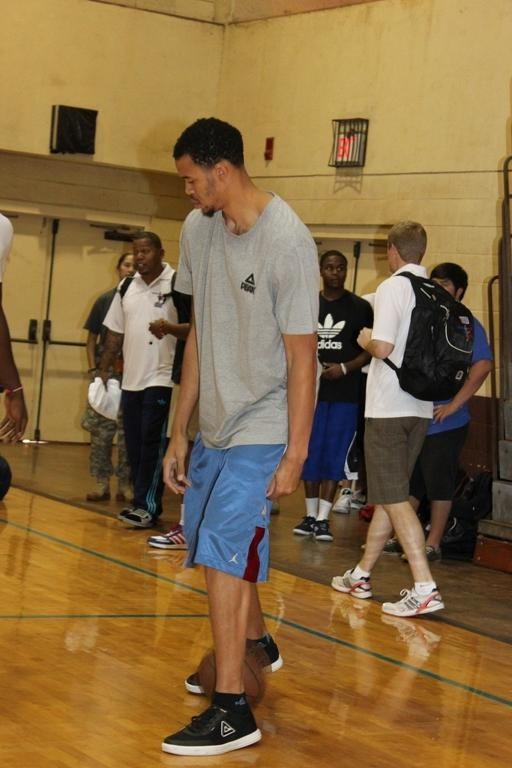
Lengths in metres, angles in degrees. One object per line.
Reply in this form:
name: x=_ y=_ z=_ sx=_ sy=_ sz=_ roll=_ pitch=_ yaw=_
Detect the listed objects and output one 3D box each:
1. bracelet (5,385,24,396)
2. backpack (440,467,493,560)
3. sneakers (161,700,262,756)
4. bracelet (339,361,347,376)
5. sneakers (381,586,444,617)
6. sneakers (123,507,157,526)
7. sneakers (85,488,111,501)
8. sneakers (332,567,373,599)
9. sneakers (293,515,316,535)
bracelet: x=-0.661 y=0.019 z=1.597 sx=0.045 sy=0.016 sz=0.038 roll=-13 pitch=3 yaw=-24
backpack: x=1.707 y=1.043 z=4.658 sx=0.487 sy=0.619 sz=0.231 roll=9 pitch=-6 yaw=44
sneakers: x=-0.086 y=0.734 z=1.277 sx=0.241 sy=0.104 sz=0.084 roll=0 pitch=3 yaw=-23
bracelet: x=0.732 y=-0.114 z=4.866 sx=0.058 sy=0.091 sz=0.090 roll=-11 pitch=19 yaw=3
sneakers: x=0.788 y=1.094 z=2.971 sx=0.379 sy=0.168 sz=0.132 roll=-4 pitch=-6 yaw=11
sneakers: x=-0.873 y=1.013 z=4.375 sx=0.266 sy=0.117 sz=0.105 roll=21 pitch=8 yaw=-43
sneakers: x=-1.405 y=1.000 z=5.217 sx=0.082 sy=0.093 sz=0.223 roll=-1 pitch=-10 yaw=31
sneakers: x=0.525 y=1.080 z=3.262 sx=0.107 sy=0.135 sz=0.284 roll=3 pitch=6 yaw=-34
sneakers: x=0.397 y=1.156 z=4.725 sx=0.088 sy=0.113 sz=0.246 roll=-4 pitch=-5 yaw=34
